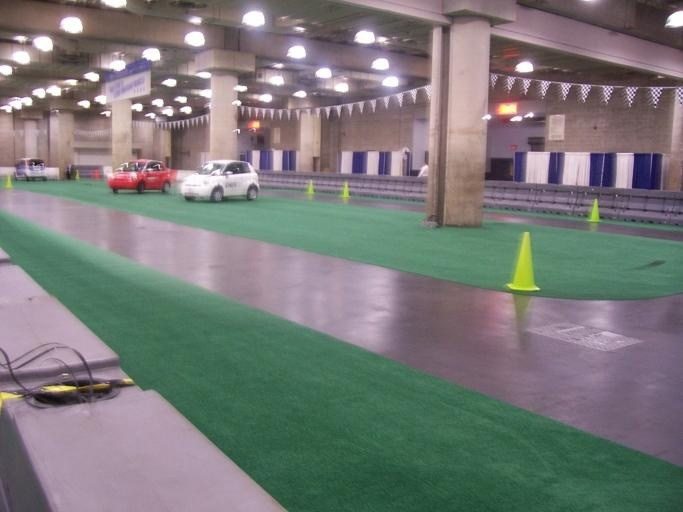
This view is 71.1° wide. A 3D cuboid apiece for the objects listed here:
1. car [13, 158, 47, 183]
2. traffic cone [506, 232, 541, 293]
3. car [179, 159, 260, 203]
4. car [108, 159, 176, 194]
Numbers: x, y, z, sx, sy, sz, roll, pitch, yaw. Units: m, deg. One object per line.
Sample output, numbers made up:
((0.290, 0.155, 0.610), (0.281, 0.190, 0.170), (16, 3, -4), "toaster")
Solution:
((-31.233, -8.227, 47.794), (2.149, 1.704, 3.050), (-2, 5, -41), "car")
((3.426, 0.115, 8.951), (0.581, 1.104, 0.708), (8, 14, 34), "traffic cone")
((-6.787, -3.938, 26.693), (1.527, 2.179, 4.040), (10, 15, 40), "car")
((-13.147, -5.069, 31.468), (2.074, 1.865, 3.770), (3, 3, 25), "car")
